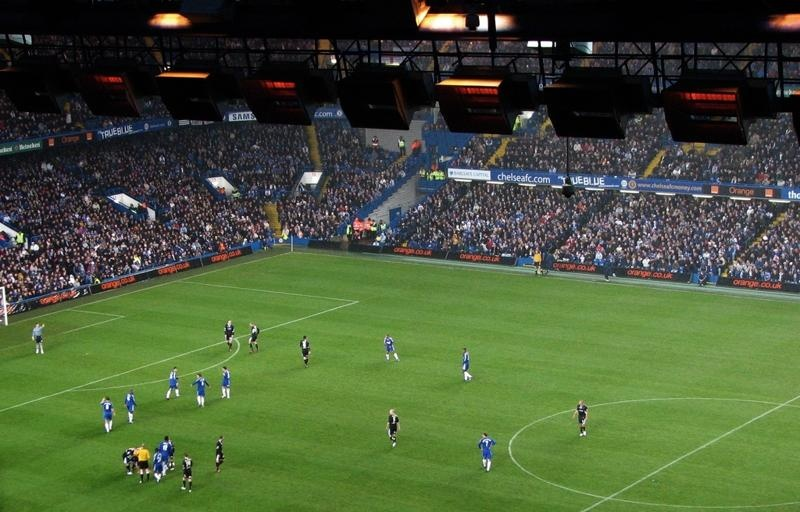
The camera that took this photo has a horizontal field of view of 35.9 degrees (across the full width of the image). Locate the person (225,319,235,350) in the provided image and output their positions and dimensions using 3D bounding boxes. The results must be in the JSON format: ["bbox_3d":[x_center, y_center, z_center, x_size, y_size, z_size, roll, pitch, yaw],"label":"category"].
[{"bbox_3d":[-8.919,4.068,64.768,0.416,1.463,1.587,-8,23,-9],"label":"person"}]

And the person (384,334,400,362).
[{"bbox_3d":[-0.413,4.517,63.469,0.719,1.311,2.207,-4,22,-1],"label":"person"}]

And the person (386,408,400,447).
[{"bbox_3d":[-0.289,7.372,54.872,0.537,1.630,1.434,-5,23,-1],"label":"person"}]

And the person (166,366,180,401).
[{"bbox_3d":[-11.007,5.839,59.635,0.629,1.451,2.200,-8,23,-8],"label":"person"}]
